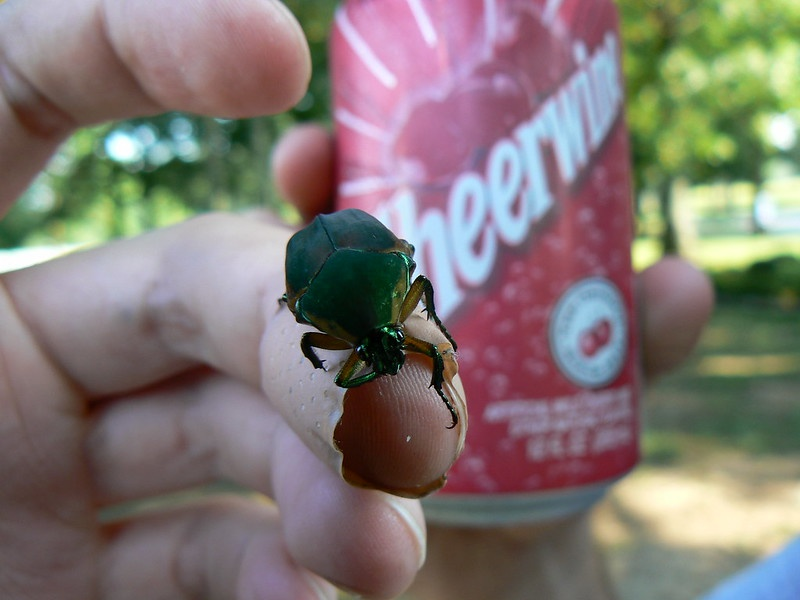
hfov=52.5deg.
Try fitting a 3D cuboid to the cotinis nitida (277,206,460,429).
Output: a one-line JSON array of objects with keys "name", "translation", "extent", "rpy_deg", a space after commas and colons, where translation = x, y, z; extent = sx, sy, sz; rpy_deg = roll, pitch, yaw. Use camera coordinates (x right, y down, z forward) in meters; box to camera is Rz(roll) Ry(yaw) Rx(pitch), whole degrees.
[{"name": "cotinis nitida", "translation": [-0.015, 0.021, 0.508], "extent": [0.082, 0.046, 0.137], "rpy_deg": [-23, 76, 9]}]
